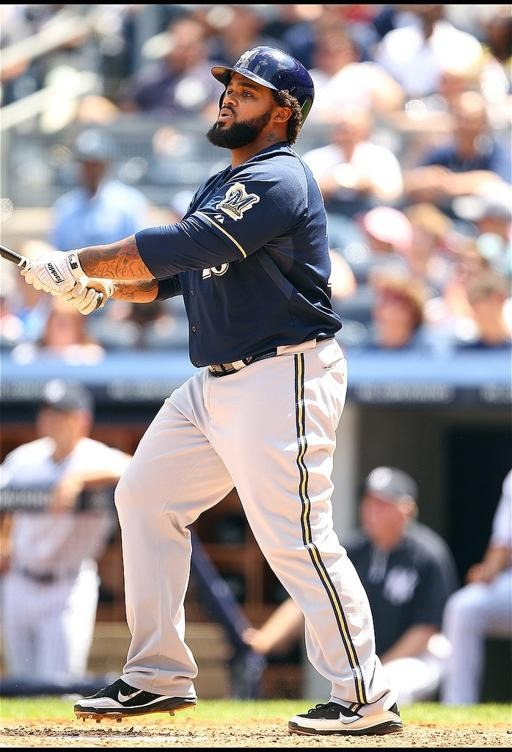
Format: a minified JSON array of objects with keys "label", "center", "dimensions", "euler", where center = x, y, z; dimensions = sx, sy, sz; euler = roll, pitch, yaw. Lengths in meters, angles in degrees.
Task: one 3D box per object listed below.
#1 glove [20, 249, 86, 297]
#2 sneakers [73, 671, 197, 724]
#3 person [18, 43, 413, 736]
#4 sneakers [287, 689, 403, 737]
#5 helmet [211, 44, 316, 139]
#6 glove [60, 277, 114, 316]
[{"label":"glove","center":[-0.642,-0.313,4.373],"dimensions":[0.200,0.170,0.157],"euler":[-8,39,-2]},{"label":"sneakers","center":[-0.395,1.028,4.464],"dimensions":[0.408,0.139,0.160],"euler":[5,69,-14]},{"label":"person","center":[-0.100,0.169,4.514],"dimensions":[1.005,1.949,1.521],"euler":[-4,40,4]},{"label":"sneakers","center":[0.286,1.049,4.337],"dimensions":[0.377,0.131,0.150],"euler":[2,80,-1]},{"label":"helmet","center":[0.022,-0.916,4.552],"dimensions":[0.328,0.248,0.249],"euler":[-20,45,-23]},{"label":"glove","center":[-0.540,-0.261,4.505],"dimensions":[0.150,0.114,0.063],"euler":[-38,93,-40]}]
